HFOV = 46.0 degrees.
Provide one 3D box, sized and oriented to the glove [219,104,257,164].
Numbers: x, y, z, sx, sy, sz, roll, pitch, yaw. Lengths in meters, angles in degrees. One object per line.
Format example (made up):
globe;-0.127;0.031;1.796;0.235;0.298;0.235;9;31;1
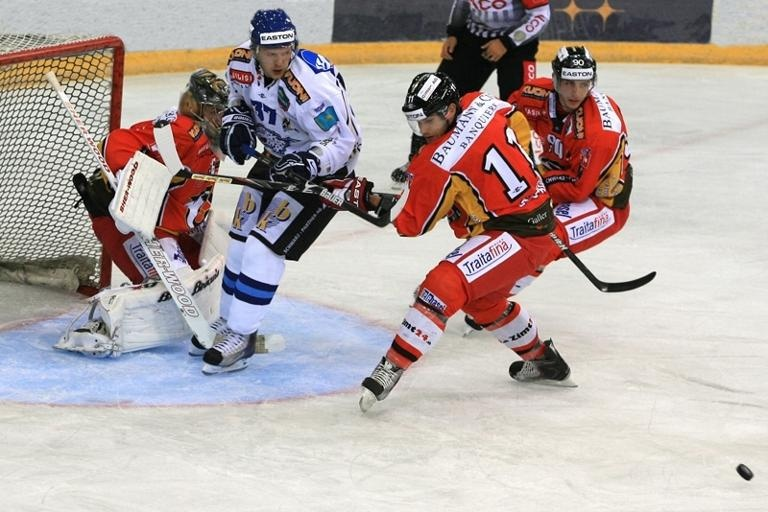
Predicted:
glove;-0.675;-0.574;4.246;0.150;0.243;0.264;-1;-3;42

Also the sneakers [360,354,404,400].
sneakers;-0.008;0.524;3.820;0.104;0.096;0.263;36;14;7

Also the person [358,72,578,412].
person;0.373;-0.084;3.955;0.974;1.404;0.718;-2;25;-11

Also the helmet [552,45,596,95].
helmet;0.949;-0.957;4.572;0.256;0.179;0.217;4;40;4

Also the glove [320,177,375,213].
glove;-0.134;-0.284;4.107;0.294;0.104;0.142;5;16;4

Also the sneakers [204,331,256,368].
sneakers;-0.710;0.424;4.100;0.118;0.124;0.326;34;17;17

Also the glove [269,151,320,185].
glove;-0.401;-0.406;4.074;0.199;0.163;0.235;-2;21;-9

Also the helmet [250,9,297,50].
helmet;-0.489;-1.020;4.040;0.218;0.166;0.211;-2;32;-3
